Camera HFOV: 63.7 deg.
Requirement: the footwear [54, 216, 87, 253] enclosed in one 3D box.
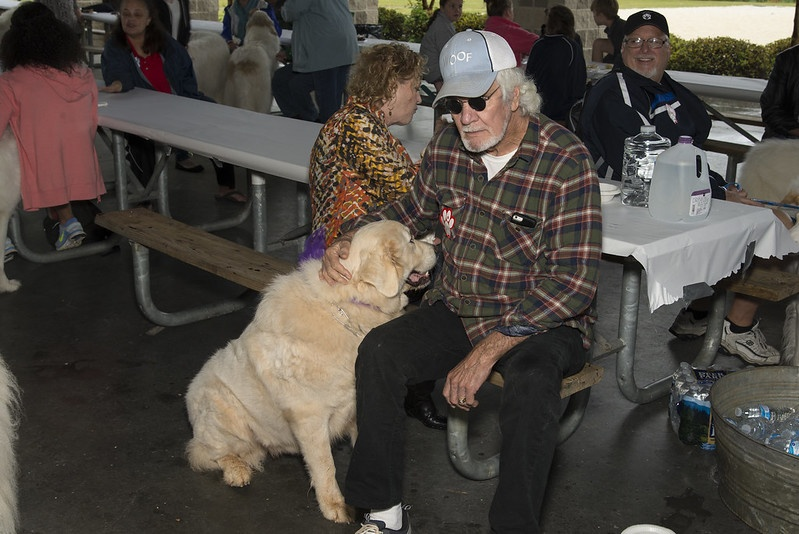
[{"bbox_3d":[-3.419,-0.311,6.640,0.201,0.212,0.453,-26,0,-38],"label":"footwear"}]
